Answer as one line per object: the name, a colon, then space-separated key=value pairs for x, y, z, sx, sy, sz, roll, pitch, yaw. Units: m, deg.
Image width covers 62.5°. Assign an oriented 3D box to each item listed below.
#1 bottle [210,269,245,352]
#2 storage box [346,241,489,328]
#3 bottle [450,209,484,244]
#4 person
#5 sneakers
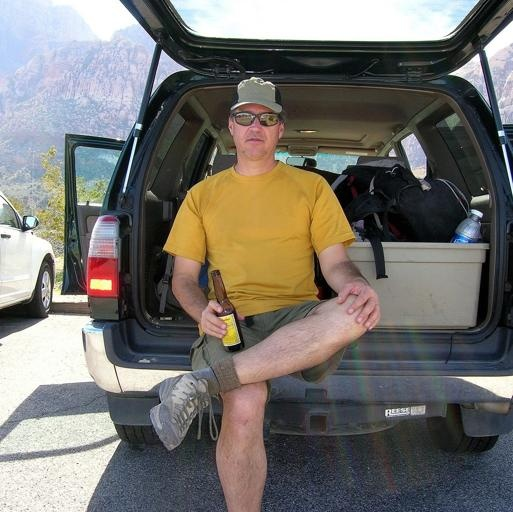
bottle: x=-0.101 y=0.196 z=1.505 sx=0.115 sy=0.286 sz=0.126 roll=1 pitch=2 yaw=0
storage box: x=0.671 y=0.128 z=1.830 sx=0.542 sy=0.276 sz=0.339 roll=0 pitch=-5 yaw=2
bottle: x=0.955 y=-0.135 z=1.933 sx=0.116 sy=0.151 sz=0.085 roll=1 pitch=2 yaw=21
person: x=0.019 y=0.180 z=1.651 sx=0.829 sy=1.192 sz=0.772 roll=0 pitch=2 yaw=-13
sneakers: x=-0.230 y=0.451 z=1.394 sx=0.168 sy=0.117 sz=0.334 roll=-16 pitch=20 yaw=4
